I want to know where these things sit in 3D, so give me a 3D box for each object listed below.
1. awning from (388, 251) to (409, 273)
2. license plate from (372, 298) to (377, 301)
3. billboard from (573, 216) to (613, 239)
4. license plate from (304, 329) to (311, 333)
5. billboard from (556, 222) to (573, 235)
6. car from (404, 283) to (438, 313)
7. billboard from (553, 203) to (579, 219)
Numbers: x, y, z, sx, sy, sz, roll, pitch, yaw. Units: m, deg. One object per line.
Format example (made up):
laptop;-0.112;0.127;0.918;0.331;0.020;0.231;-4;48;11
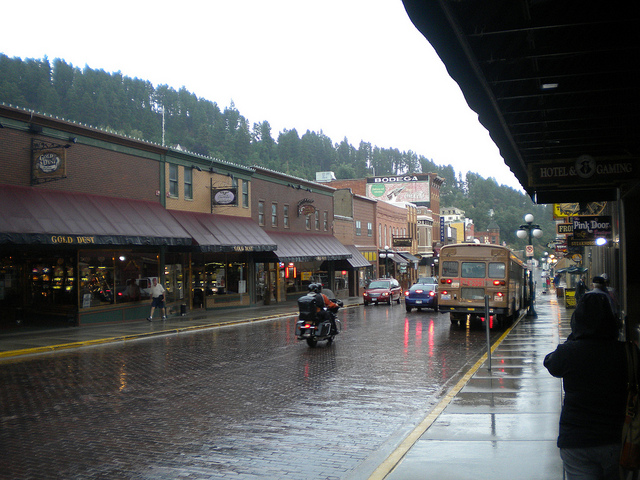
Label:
awning;7.842;2.278;63.287;2.075;1.575;6.770;4;-8;17
license plate;3.358;3.722;39.085;0.188;0.142;0.106;-2;5;-11
billboard;10.314;-0.462;23.858;1.223;0.882;3.042;-1;-1;6
license plate;-0.396;2.821;19.332;0.158;0.180;0.087;-1;4;4
billboard;11.698;-0.609;29.745;0.507;0.496;2.459;-1;-1;17
car;5.406;3.110;33.023;1.597;1.411;3.782;0;-1;14
billboard;13.225;-1.601;34.172;0.792;0.787;2.015;-1;-1;21
